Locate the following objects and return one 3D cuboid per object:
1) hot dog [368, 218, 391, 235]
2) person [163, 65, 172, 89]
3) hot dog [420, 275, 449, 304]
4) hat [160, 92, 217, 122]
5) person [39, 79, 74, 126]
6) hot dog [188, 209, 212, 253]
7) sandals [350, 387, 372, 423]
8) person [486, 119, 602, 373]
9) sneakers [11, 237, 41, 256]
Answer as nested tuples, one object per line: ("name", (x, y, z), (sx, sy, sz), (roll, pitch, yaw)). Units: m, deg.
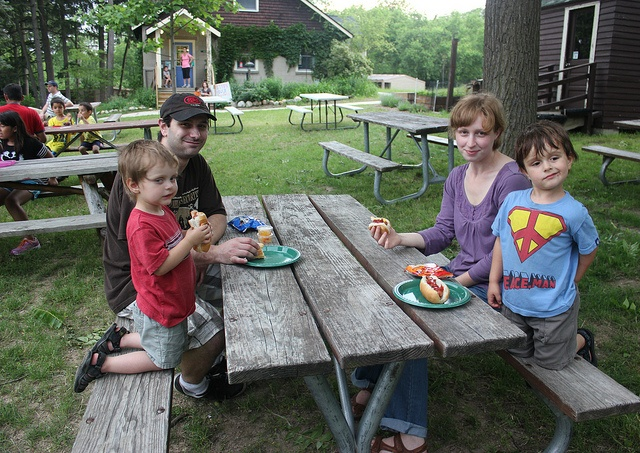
("hot dog", (0.405, -0.027, 2.929), (0.119, 0.050, 0.121), (33, 3, 22))
("person", (-7.797, -7.587, 21.564), (0.369, 1.002, 1.171), (-8, 22, -16))
("hot dog", (0.661, 0.365, 2.456), (0.145, 0.107, 0.293), (-5, 14, 1))
("hat", (-0.998, -0.822, 3.077), (0.322, 0.174, 0.237), (0, 1, 42))
("person", (-7.590, -3.345, 12.015), (1.116, 1.429, 0.704), (12, 11, 22))
("hot dog", (-0.724, 0.029, 2.524), (0.137, 0.273, 0.088), (4, 16, -9))
("sandals", (0.264, 1.241, 2.952), (0.073, 0.279, 0.109), (23, -15, -18))
("person", (1.393, 0.241, 2.590), (0.699, 1.676, 0.506), (-2, 11, 10))
("sneakers", (-3.672, 0.245, 5.291), (0.389, 0.184, 0.137), (-10, 15, -38))
